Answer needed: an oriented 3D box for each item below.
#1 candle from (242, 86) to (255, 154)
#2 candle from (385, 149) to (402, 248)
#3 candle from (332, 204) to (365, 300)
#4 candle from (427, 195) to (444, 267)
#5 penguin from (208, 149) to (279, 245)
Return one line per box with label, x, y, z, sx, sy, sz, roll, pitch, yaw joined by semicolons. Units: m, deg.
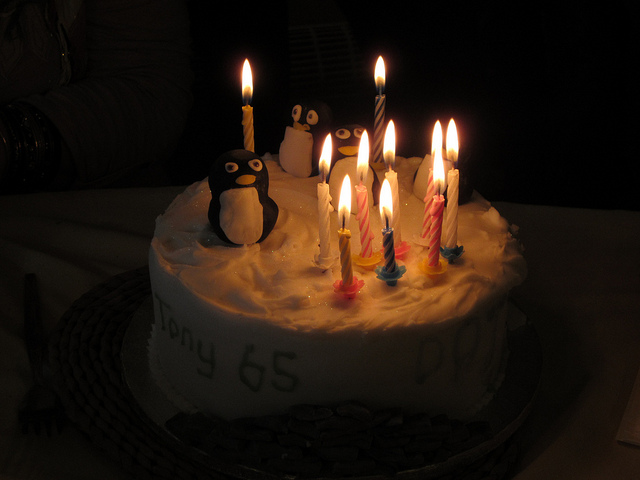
candle;-0.416;-0.709;3.269;0.075;0.362;0.278;6;8;-9
candle;0.365;-0.195;2.809;0.050;0.458;0.056;-9;12;-10
candle;0.113;0.062;2.519;0.123;0.379;0.164;-14;42;-22
candle;0.561;-0.043;2.714;0.077;0.354;0.190;8;7;12
penguin;-0.398;-0.252;2.966;0.333;0.476;0.383;-19;36;-35
